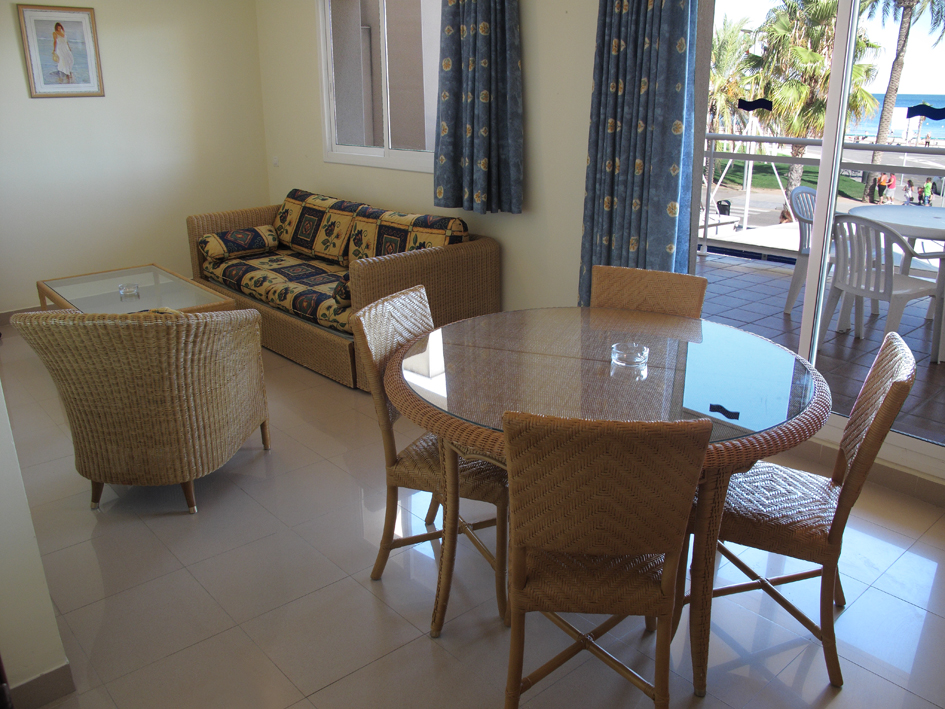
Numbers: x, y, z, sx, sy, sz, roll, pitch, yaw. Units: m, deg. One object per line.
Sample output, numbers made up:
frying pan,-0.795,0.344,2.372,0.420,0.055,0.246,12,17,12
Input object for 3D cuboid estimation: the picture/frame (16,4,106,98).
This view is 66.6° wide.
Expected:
picture/frame,-3.154,-2.326,5.475,0.624,0.805,0.055,-15,27,-32

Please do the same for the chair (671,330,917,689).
chair,1.109,0.514,2.641,0.724,1.183,0.767,-14,24,-38

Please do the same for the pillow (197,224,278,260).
pillow,-1.844,-0.905,5.713,0.476,0.170,0.298,-16,37,-30

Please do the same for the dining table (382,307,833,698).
dining table,0.530,0.104,2.468,1.335,0.933,1.330,-22,34,-31

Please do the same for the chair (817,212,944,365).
chair,1.922,-0.429,3.734,0.526,0.750,0.492,-27,35,-24

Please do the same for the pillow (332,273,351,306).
pillow,-0.823,-0.389,4.534,0.101,0.127,0.202,-3,20,-8

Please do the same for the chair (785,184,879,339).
chair,1.854,-0.550,3.871,0.381,0.565,0.346,12,22,18
